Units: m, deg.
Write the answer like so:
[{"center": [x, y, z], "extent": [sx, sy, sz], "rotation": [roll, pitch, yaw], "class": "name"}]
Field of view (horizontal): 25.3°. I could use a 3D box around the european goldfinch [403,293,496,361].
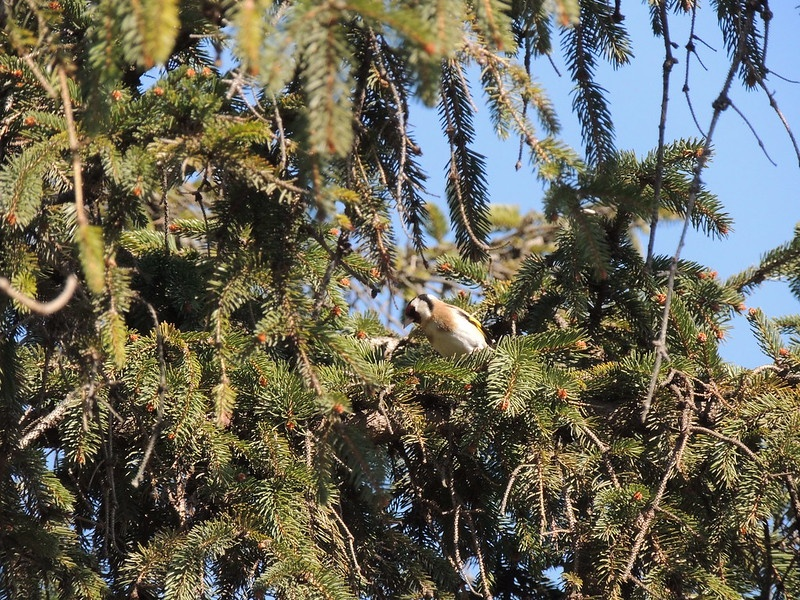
[{"center": [0.291, 0.151, 9.624], "extent": [0.529, 0.431, 0.285], "rotation": [-11, -4, -27], "class": "european goldfinch"}]
